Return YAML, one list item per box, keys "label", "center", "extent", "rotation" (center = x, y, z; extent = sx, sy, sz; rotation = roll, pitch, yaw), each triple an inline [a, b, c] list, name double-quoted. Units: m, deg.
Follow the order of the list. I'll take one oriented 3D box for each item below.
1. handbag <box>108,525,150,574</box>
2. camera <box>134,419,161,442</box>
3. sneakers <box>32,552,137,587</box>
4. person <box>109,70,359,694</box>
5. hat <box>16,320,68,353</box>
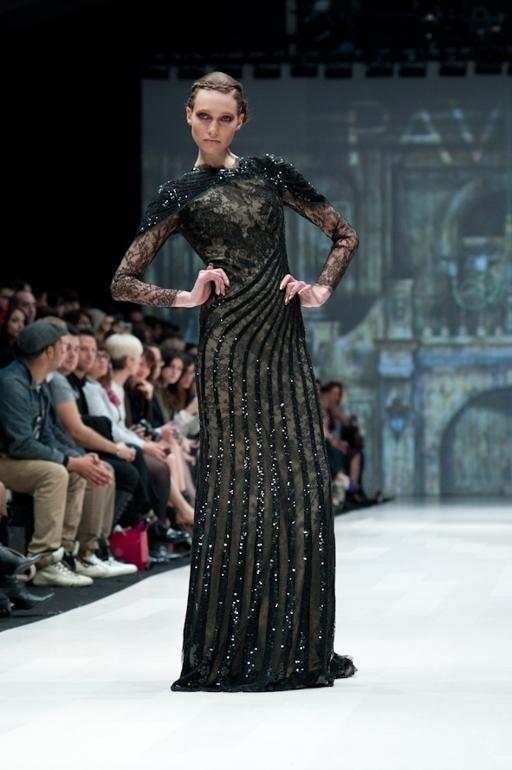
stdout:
- label: "handbag"
  center: [-0.692, 0.809, 4.569]
  extent: [0.259, 0.210, 0.135]
  rotation: [11, -32, -14]
- label: "camera"
  center: [-0.618, 0.265, 5.112]
  extent: [0.093, 0.060, 0.151]
  rotation: [40, -13, 36]
- label: "sneakers"
  center: [-0.792, 0.802, 3.853]
  extent: [0.230, 0.079, 0.260]
  rotation: [0, -7, 8]
- label: "person"
  center: [-0.045, 0.052, 2.118]
  extent: [0.603, 1.261, 0.291]
  rotation: [1, -2, -4]
- label: "hat"
  center: [-0.908, -0.210, 3.799]
  extent: [0.186, 0.075, 0.129]
  rotation: [-24, 21, -16]
